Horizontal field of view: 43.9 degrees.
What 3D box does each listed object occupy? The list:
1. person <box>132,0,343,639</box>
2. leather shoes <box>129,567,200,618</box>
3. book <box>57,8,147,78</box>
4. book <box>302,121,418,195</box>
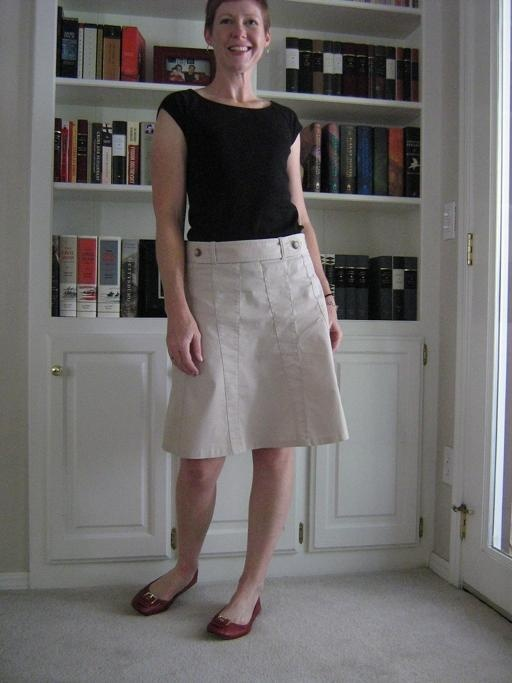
[{"bbox_3d":[-0.038,-0.052,1.645,0.550,1.579,0.303,1,1,-12],"label":"person"},{"bbox_3d":[-0.265,0.682,1.747,0.066,0.050,0.146,9,10,34],"label":"leather shoes"},{"bbox_3d":[-0.497,-0.909,2.042,0.294,0.204,0.244,1,9,-9],"label":"book"},{"bbox_3d":[0.337,-0.592,2.083,0.230,0.197,0.141,2,-1,-9],"label":"book"}]
